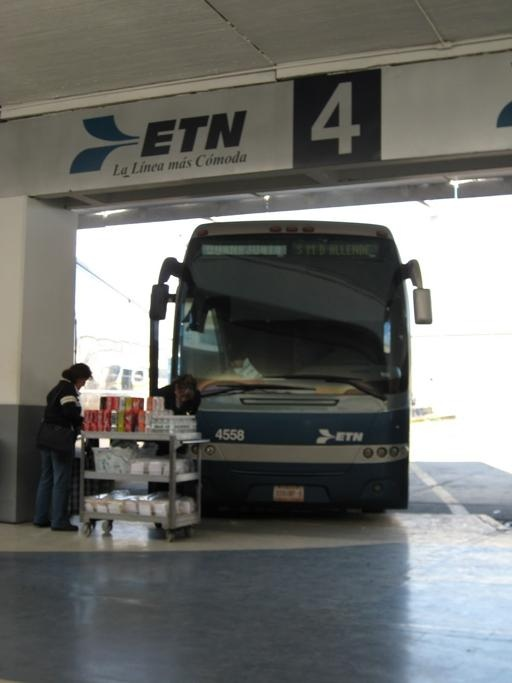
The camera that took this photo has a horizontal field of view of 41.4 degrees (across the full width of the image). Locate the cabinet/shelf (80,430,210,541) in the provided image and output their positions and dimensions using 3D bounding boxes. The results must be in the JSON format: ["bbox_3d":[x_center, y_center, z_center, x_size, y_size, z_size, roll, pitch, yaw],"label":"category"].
[{"bbox_3d":[-1.232,1.576,7.586,1.348,1.003,0.689,-3,-10,25],"label":"cabinet/shelf"}]

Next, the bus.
[{"bbox_3d":[1.578,-0.019,10.751,3.907,3.526,5.999,1,6,27],"label":"bus"}]

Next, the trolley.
[{"bbox_3d":[-1.240,1.570,7.523,1.443,1.098,0.751,-1,-8,16],"label":"trolley"}]

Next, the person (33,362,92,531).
[{"bbox_3d":[-2.241,1.197,7.749,0.534,1.915,0.781,5,-6,-30],"label":"person"}]
